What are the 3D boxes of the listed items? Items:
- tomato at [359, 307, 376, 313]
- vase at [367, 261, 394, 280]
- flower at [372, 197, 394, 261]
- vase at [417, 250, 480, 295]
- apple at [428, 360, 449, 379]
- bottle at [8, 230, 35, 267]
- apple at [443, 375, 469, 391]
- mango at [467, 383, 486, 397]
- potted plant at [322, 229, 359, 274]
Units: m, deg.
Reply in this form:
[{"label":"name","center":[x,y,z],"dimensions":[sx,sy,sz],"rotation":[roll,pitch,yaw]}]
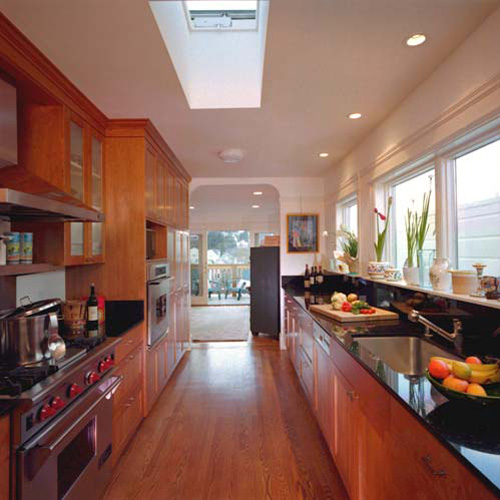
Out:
[{"label":"tomato","center":[0.842,0.424,2.809],"dimensions":[0.055,0.023,0.058],"rotation":[-5,1,-23]},{"label":"vase","center":[1.032,0.162,3.144],"dimensions":[0.149,0.126,0.130],"rotation":[2,-4,5]},{"label":"flower","center":[1.089,-0.167,3.233],"dimensions":[0.144,0.511,0.461],"rotation":[0,1,18]},{"label":"vase","center":[1.125,0.133,2.188],"dimensions":[0.158,0.166,0.232],"rotation":[3,-4,-34]},{"label":"apple","center":[0.678,0.426,1.428],"dimensions":[0.054,0.063,0.059],"rotation":[2,-14,-1]},{"label":"bottle","center":[-1.137,-0.012,1.964],"dimensions":[0.057,0.153,0.157],"rotation":[0,1,21]},{"label":"apple","center":[0.691,0.449,1.330],"dimensions":[0.045,0.050,0.045],"rotation":[1,-3,-41]},{"label":"mango","center":[0.740,0.457,1.293],"dimensions":[0.034,0.043,0.050],"rotation":[6,7,-2]},{"label":"potted plant","center":[1.052,-0.006,4.309],"dimensions":[0.261,0.453,0.368],"rotation":[1,-2,35]}]
